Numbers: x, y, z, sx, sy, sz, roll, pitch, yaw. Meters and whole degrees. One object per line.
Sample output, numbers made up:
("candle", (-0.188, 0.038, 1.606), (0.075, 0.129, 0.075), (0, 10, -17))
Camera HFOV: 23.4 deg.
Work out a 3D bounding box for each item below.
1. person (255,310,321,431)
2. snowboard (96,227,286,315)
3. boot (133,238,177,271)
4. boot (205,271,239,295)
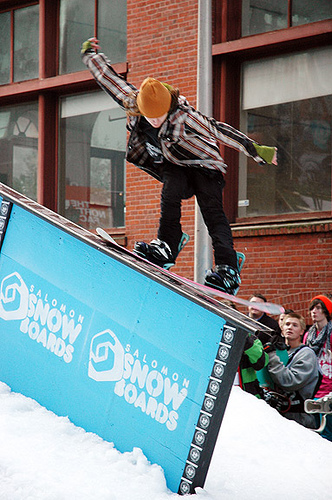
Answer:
("person", (0.955, 0.932, 6.175), (0.506, 0.879, 0.721), (8, 1, 19))
("snowboard", (0.310, 0.168, 6.490), (1.685, 0.088, 0.194), (32, -14, 12))
("boot", (-0.084, 0.022, 5.941), (0.229, 0.240, 0.220), (-9, 3, -25))
("boot", (0.392, 0.231, 5.849), (0.227, 0.129, 0.115), (24, 8, -41))
